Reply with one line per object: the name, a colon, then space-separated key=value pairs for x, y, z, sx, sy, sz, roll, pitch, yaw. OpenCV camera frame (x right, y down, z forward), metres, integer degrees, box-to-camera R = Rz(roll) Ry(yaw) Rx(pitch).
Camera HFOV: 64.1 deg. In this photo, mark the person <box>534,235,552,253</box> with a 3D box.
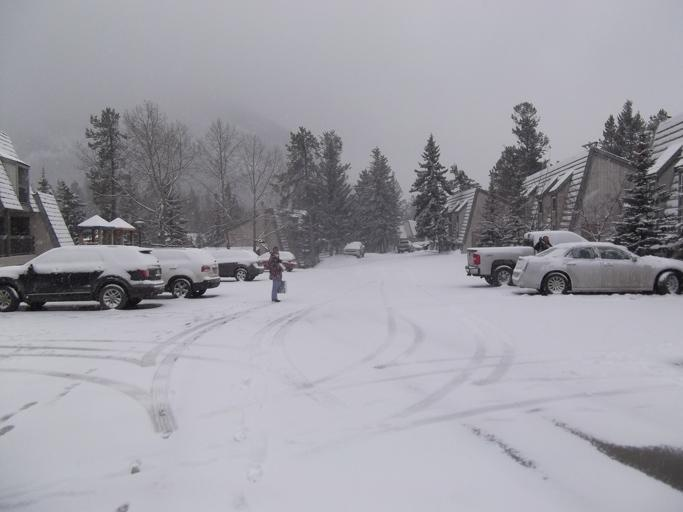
person: x=7.421 y=-0.454 z=20.221 sx=0.565 sy=0.991 sz=0.784 roll=2 pitch=5 yaw=5
